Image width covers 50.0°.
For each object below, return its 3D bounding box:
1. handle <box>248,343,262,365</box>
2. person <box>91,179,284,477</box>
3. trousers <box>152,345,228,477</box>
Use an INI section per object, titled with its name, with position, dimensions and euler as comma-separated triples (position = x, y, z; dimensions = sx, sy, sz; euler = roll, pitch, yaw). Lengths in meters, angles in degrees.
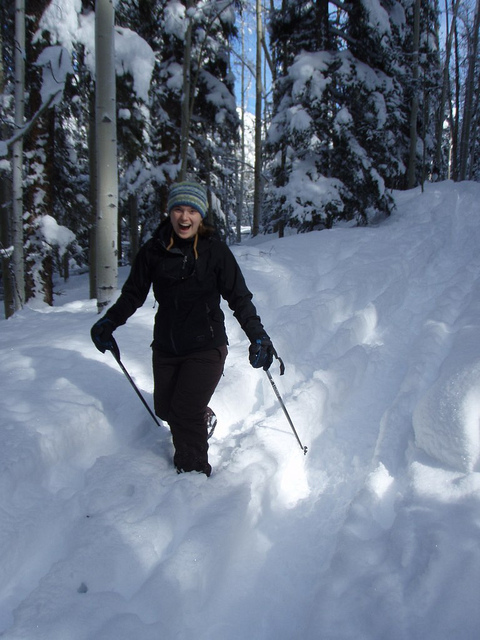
[handle]
position = 0.086, 0.223, 3.261
dimensions = 0.046, 0.120, 0.083
euler = 21, -17, -35
[person]
position = -0.356, 0.067, 3.350
dimensions = 1.123, 1.877, 0.452
euler = 4, 11, 22
[trousers]
position = -0.346, 0.594, 3.372
dimensions = 0.486, 0.804, 0.332
euler = 0, 10, 1
